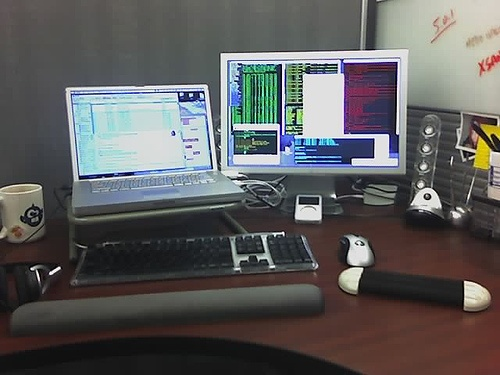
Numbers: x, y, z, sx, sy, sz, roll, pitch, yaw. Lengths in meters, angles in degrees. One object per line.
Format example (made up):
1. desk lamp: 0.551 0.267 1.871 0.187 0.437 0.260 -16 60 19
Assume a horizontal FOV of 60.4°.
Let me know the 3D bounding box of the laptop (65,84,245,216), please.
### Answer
1. laptop: -0.310 -0.203 1.257 0.478 0.318 0.410 -7 21 -21

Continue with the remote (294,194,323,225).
1. remote: 0.184 0.066 1.350 0.087 0.029 0.133 3 35 12

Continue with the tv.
1. tv: 0.200 -0.188 1.370 0.561 0.379 0.042 0 4 3
